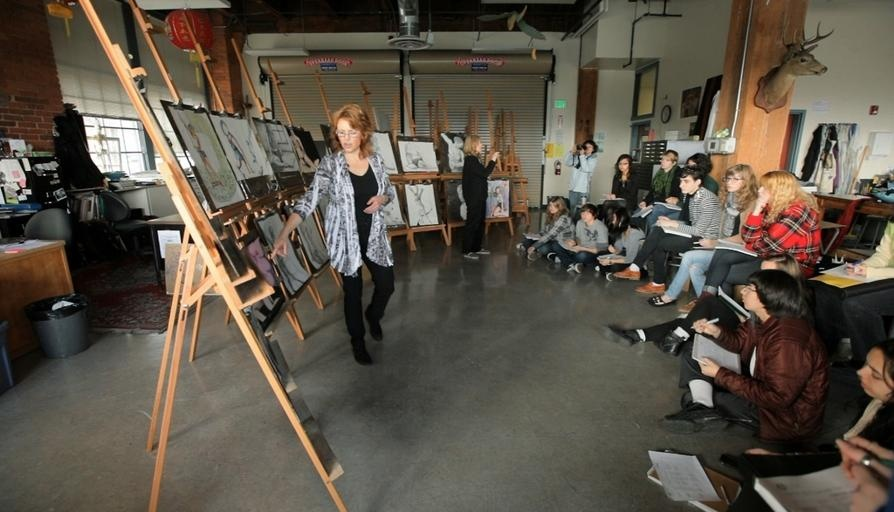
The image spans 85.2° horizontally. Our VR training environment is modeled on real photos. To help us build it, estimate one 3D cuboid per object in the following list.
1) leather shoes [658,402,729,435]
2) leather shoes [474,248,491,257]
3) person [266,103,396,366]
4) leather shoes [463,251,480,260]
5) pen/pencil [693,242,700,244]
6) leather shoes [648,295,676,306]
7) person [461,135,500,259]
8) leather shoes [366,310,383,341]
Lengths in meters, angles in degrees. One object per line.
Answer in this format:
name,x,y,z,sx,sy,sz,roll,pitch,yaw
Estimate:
leather shoes,2.253,1.474,4.451,0.717,0.259,0.223,1,10,1
leather shoes,0.603,-0.058,8.078,0.282,0.098,0.101,-3,25,-8
person,-0.956,-0.166,4.855,0.985,2.571,0.508,-20,24,-39
leather shoes,0.403,-0.001,7.889,0.227,0.071,0.122,3,14,30
pen/pencil,3.154,-0.165,6.103,0.085,0.018,0.020,-11,-7,-44
leather shoes,2.736,0.572,6.149,0.302,0.093,0.139,1,15,12
person,0.519,-0.953,7.853,0.588,1.904,0.780,0,19,11
leather shoes,-0.810,0.758,5.358,0.140,0.158,0.371,-9,36,-12
